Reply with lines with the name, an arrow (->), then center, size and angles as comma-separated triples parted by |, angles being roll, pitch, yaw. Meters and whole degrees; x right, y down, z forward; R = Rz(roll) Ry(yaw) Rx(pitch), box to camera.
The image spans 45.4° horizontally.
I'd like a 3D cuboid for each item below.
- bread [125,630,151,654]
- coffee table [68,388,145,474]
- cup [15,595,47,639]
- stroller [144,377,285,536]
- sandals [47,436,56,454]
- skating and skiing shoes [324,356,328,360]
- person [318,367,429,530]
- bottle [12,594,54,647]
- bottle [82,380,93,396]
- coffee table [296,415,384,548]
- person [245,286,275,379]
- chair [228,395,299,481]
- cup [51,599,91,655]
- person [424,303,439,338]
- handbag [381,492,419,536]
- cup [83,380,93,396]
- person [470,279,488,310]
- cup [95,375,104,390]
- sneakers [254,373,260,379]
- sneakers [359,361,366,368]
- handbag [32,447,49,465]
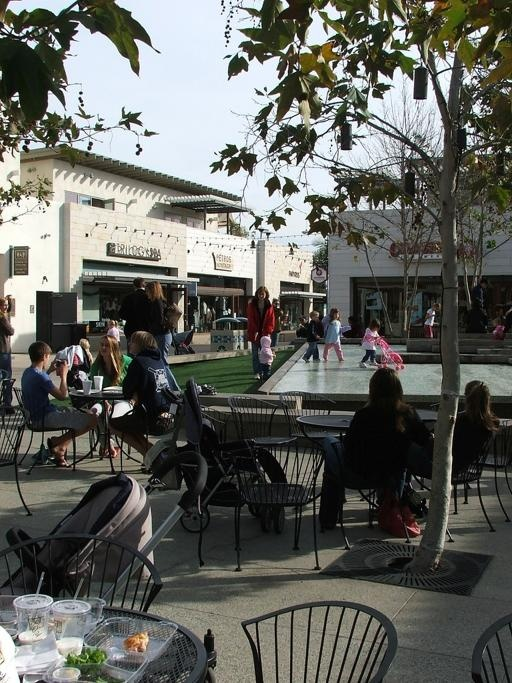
bread -> -0.301, 0.778, 1.558 | 0.046, 0.036, 0.017 | 10, 4, -35
coffee table -> -1.924, 1.035, 7.726 | 1.003, 1.145, 1.021 | -3, 6, -25
cup -> -0.583, 0.725, 1.635 | 0.091, 0.093, 0.088 | 0, -6, 0
stroller -> -0.309, 0.941, 5.394 | 1.350, 1.595, 1.006 | -1, 1, -2
sandals -> -2.515, 1.287, 7.516 | 0.054, 0.165, 0.113 | 2, 3, -4
skating and skiing shoes -> 1.921, 0.524, 17.242 | 0.076, 0.141, 0.077 | 2, -4, -34
person -> 0.920, 0.922, 4.956 | 0.867, 1.395, 0.714 | -1, -1, 34
bottle -> -0.585, 0.743, 1.635 | 0.094, 0.100, 0.098 | -3, -6, 28
bottle -> -2.012, 0.578, 7.345 | 0.137, 0.192, 0.151 | 0, 0, -9
coffee table -> 0.782, 1.193, 5.898 | 0.809, 0.969, 0.860 | 0, 0, 14
person -> 0.064, -0.163, 12.770 | 0.521, 1.969, 1.267 | 0, -1, 0
chair -> -0.037, 1.170, 7.508 | 0.789, 1.138, 0.823 | -6, -5, 43
cup -> -0.483, 0.752, 1.602 | 0.099, 0.126, 0.094 | 0, -6, 0
person -> 6.827, -0.774, 24.162 | 0.457, 1.345, 2.147 | 0, -2, 15
handbag -> 1.197, 1.450, 5.211 | 0.204, 0.366, 0.353 | 2, -1, -36
cup -> -2.021, 0.563, 7.312 | 0.137, 0.192, 0.151 | 0, 0, -9
person -> 8.212, -1.696, 22.698 | 0.551, 0.719, 1.981 | 3, -10, 17
cup -> -1.933, 0.522, 7.494 | 0.145, 0.222, 0.148 | 0, 2, 0
sneakers -> 0.010, 0.789, 13.512 | 0.090, 0.134, 0.047 | -1, -11, 15
sneakers -> 2.736, 0.637, 15.853 | 0.086, 0.185, 0.256 | -2, -6, -17
handbag -> -2.669, 1.441, 7.578 | 0.113, 0.224, 0.218 | 2, 4, 6
